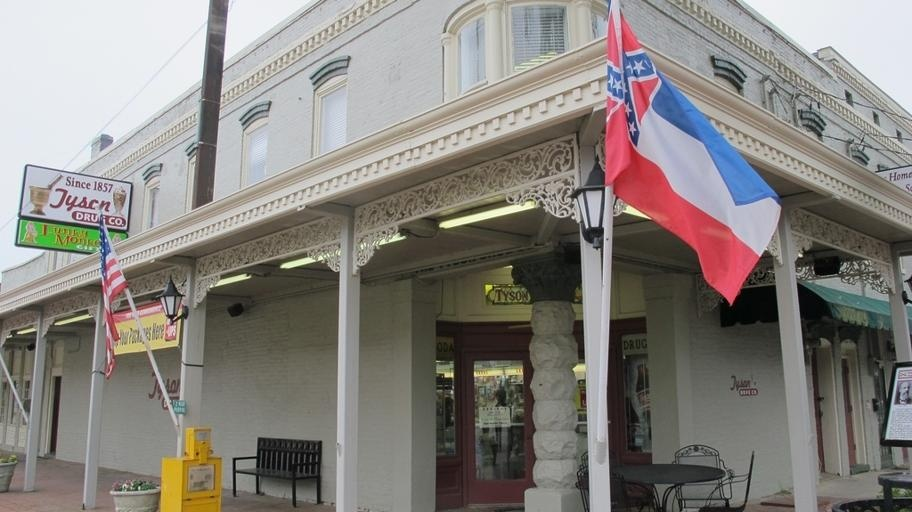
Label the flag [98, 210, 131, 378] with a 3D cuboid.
[{"bbox_3d":[-8.272,0.917,18.355,0.734,3.621,2.334,6,-22,-23],"label":"flag"}]

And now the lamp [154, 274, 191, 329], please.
[{"bbox_3d":[-6.645,1.061,18.004,0.634,1.101,0.639,-2,-2,-21],"label":"lamp"}]

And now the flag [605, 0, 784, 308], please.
[{"bbox_3d":[3.743,-1.607,13.002,2.639,4.838,0.952,5,-22,-21],"label":"flag"}]

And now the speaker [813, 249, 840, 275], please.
[{"bbox_3d":[8.633,0.154,18.023,0.623,0.489,0.464,-13,-22,25],"label":"speaker"}]

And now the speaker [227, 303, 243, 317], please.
[{"bbox_3d":[-6.182,1.480,21.664,0.441,0.321,0.435,-17,13,-20],"label":"speaker"}]

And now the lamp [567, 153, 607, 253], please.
[{"bbox_3d":[2.378,-0.928,13.435,0.812,1.486,0.858,0,-7,-27],"label":"lamp"}]

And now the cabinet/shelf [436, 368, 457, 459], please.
[{"bbox_3d":[-0.265,3.748,19.100,0.492,2.253,0.633,-2,-20,-3],"label":"cabinet/shelf"}]
